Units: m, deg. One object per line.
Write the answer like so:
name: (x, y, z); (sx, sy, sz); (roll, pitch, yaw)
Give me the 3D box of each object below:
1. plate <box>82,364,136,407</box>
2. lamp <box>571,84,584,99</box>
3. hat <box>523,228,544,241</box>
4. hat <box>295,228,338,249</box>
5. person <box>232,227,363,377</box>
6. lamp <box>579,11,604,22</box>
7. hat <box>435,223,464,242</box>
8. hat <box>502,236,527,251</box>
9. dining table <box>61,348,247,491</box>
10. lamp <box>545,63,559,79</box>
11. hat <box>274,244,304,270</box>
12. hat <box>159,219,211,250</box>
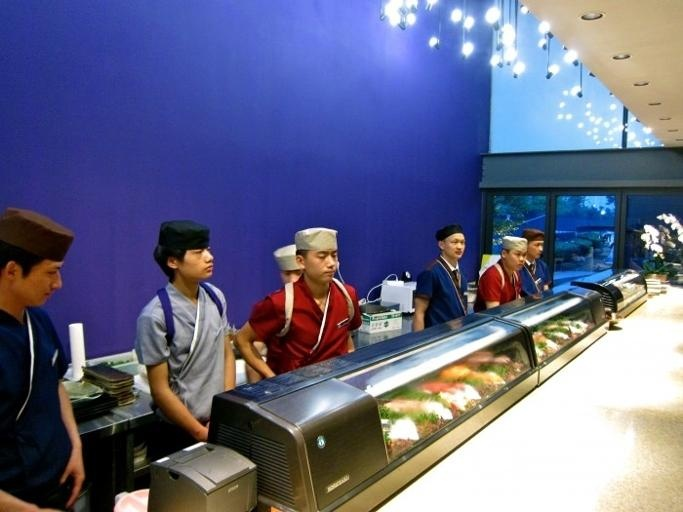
plate: (-1.212, 0.645, 2.576); (0.230, 0.083, 0.174); (24, 15, 34)
lamp: (2.912, -2.013, 5.988); (0.134, 0.148, 0.203); (7, 14, 3)
hat: (1.563, -0.167, 3.975); (0.130, 0.139, 0.105); (-9, 11, 4)
hat: (-0.124, -0.076, 2.319); (0.119, 0.065, 0.125); (0, 3, 26)
person: (-0.169, 0.247, 2.430); (0.634, 0.857, 0.386); (-14, 28, -35)
lamp: (1.252, -1.190, 2.437); (0.112, 0.027, 0.084); (9, 14, 10)
hat: (0.772, -0.150, 3.538); (0.135, 0.094, 0.179); (-15, 5, -20)
hat: (1.190, -0.082, 3.381); (0.109, 0.065, 0.115); (1, 3, -32)
dining table: (-1.031, 0.777, 2.521); (0.510, 0.726, 0.697); (-8, 10, -41)
lamp: (2.653, -2.331, 6.194); (0.167, 0.191, 0.136); (2, 14, -16)
hat: (-0.349, 0.014, 3.224); (0.159, 0.127, 0.198); (-19, 10, -18)
hat: (-0.702, -0.091, 2.163); (0.145, 0.082, 0.154); (1, 4, 23)
